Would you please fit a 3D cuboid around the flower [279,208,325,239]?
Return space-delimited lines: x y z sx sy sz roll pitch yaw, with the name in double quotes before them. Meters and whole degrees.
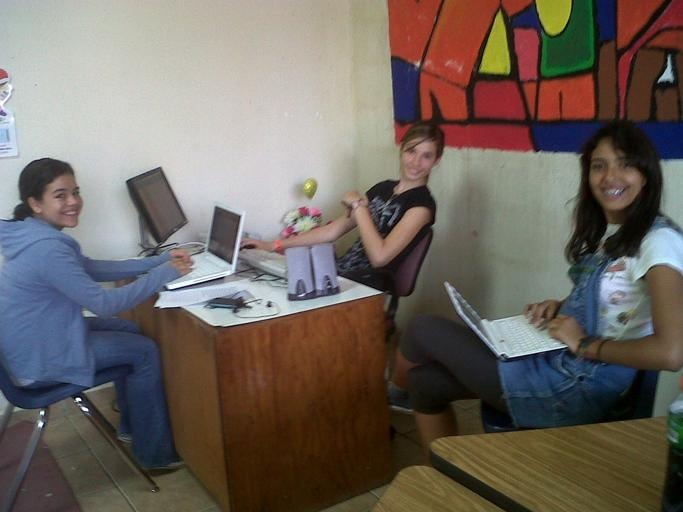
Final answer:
"flower" -0.269 -0.252 3.491 0.242 0.224 0.144 -1 50 5

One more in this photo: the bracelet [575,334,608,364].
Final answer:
"bracelet" 0.852 0.314 1.736 0.068 0.033 0.092 -3 3 1

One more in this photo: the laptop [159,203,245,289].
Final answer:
"laptop" -0.662 -0.039 2.592 0.389 0.333 0.452 -11 17 -23

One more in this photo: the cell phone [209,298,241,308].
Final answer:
"cell phone" -0.481 0.190 2.130 0.073 0.019 0.063 1 8 5

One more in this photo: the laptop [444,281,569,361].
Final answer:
"laptop" 0.633 0.295 1.965 0.304 0.190 0.313 -16 16 0

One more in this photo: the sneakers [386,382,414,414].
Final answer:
"sneakers" 0.303 0.788 2.928 0.161 0.082 0.215 0 20 -27

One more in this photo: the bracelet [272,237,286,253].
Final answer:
"bracelet" -0.367 -0.076 3.055 0.061 0.086 0.092 4 -13 2

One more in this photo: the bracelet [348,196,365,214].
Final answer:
"bracelet" 0.079 -0.289 2.881 0.074 0.051 0.099 0 11 13
